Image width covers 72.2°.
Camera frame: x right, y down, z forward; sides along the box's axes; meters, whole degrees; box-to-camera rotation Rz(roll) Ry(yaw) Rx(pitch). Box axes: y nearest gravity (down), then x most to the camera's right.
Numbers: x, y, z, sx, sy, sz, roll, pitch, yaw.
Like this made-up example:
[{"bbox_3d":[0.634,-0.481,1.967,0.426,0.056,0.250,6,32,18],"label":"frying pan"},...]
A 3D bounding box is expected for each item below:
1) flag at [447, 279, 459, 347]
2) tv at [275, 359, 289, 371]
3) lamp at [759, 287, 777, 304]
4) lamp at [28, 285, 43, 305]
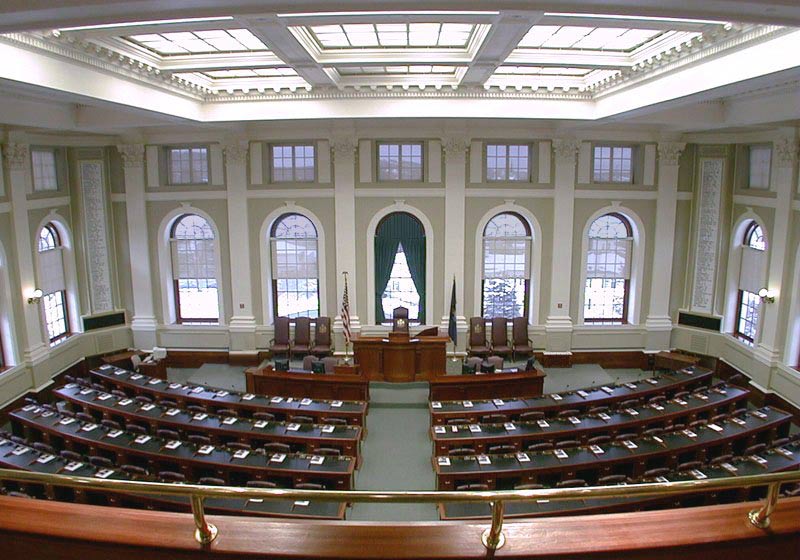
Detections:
[{"bbox_3d":[1.394,0.905,14.817,0.285,1.849,0.663,-2,-6,6],"label":"flag"},{"bbox_3d":[-2.678,1.940,12.376,0.281,0.264,0.150,0,-8,-14],"label":"tv"},{"bbox_3d":[8.574,0.363,12.782,0.369,0.371,0.090,2,-4,36],"label":"lamp"},{"bbox_3d":[-8.731,0.382,13.134,0.245,0.460,0.416,0,-6,-13],"label":"lamp"}]
